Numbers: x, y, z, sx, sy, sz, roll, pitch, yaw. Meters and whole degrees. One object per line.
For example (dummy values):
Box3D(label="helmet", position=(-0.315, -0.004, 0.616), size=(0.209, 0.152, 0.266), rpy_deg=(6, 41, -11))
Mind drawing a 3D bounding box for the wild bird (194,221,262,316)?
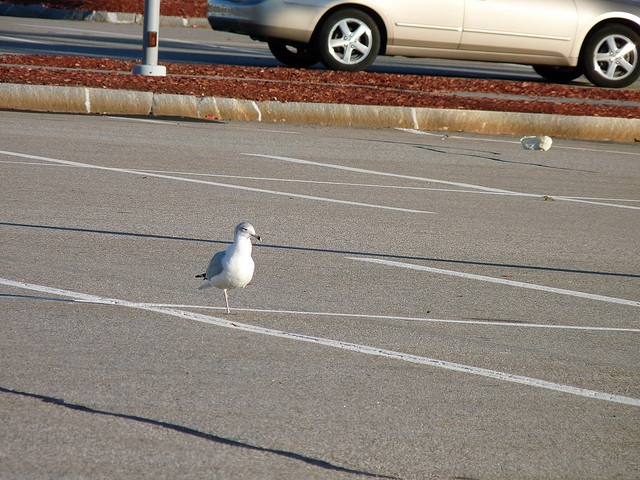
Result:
Box3D(label="wild bird", position=(-0.680, 0.115, 7.291), size=(0.365, 0.514, 0.232), rpy_deg=(7, 12, 3))
